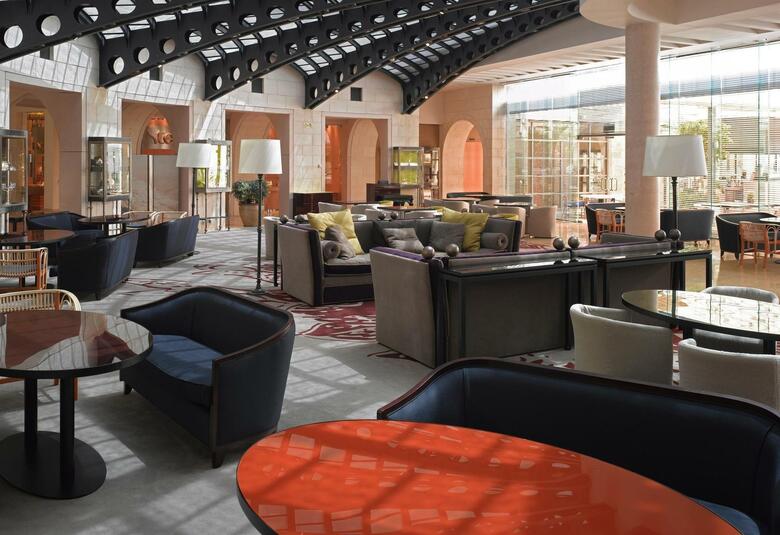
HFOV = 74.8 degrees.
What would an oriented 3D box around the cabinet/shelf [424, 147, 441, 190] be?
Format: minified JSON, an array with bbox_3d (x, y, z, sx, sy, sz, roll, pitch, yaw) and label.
[{"bbox_3d":[1.776,-4.130,21.530,0.527,1.504,1.147,2,1,23],"label":"cabinet/shelf"}]

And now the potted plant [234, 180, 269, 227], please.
[{"bbox_3d":[-4.843,-2.226,17.626,1.328,1.437,1.125,5,7,0],"label":"potted plant"}]

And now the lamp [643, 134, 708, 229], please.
[{"bbox_3d":[3.307,-0.777,5.969,0.650,1.402,0.594,4,14,35],"label":"lamp"}]

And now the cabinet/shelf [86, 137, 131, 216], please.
[{"bbox_3d":[-7.300,-2.372,13.331,0.802,1.963,0.998,6,13,26],"label":"cabinet/shelf"}]
